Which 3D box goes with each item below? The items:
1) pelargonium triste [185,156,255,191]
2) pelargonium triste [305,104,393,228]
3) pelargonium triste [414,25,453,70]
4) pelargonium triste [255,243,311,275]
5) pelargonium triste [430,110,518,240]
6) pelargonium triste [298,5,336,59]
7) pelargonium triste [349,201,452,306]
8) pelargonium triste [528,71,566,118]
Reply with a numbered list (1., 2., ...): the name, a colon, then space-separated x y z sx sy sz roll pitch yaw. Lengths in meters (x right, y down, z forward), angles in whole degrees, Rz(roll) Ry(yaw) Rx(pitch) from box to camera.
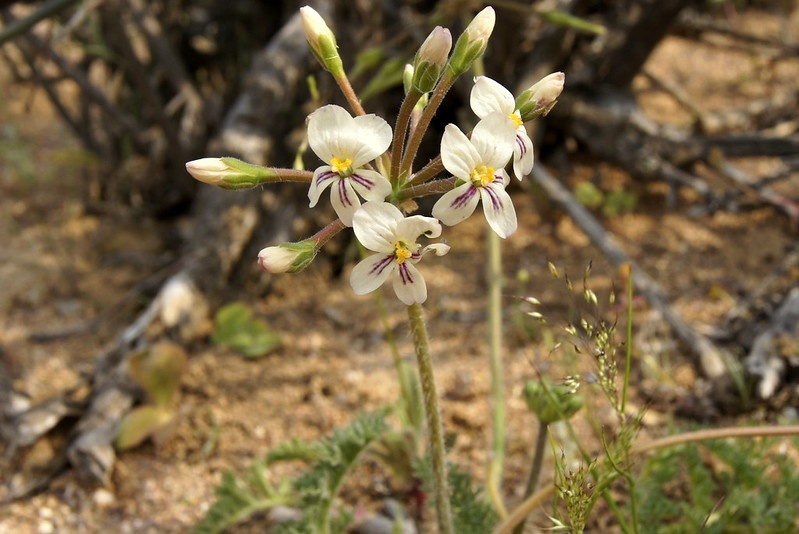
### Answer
1. pelargonium triste: -0.705 -0.373 3.631 0.280 0.115 0.125 10 48 -7
2. pelargonium triste: -0.197 -0.409 3.489 0.288 0.315 0.324 2 40 -23
3. pelargonium triste: 0.136 -0.861 3.526 0.122 0.149 0.117 18 36 -2
4. pelargonium triste: -0.446 -0.035 3.576 0.169 0.102 0.119 -20 74 -7
5. pelargonium triste: 0.318 -0.368 3.469 0.361 0.379 0.272 19 35 -2
6. pelargonium triste: -0.335 -0.955 3.714 0.134 0.212 0.065 -40 20 -20
7. pelargonium triste: -0.033 -0.064 3.460 0.329 0.323 0.177 13 35 -10
8. pelargonium triste: 0.587 -0.686 3.692 0.132 0.085 0.187 7 -2 17
